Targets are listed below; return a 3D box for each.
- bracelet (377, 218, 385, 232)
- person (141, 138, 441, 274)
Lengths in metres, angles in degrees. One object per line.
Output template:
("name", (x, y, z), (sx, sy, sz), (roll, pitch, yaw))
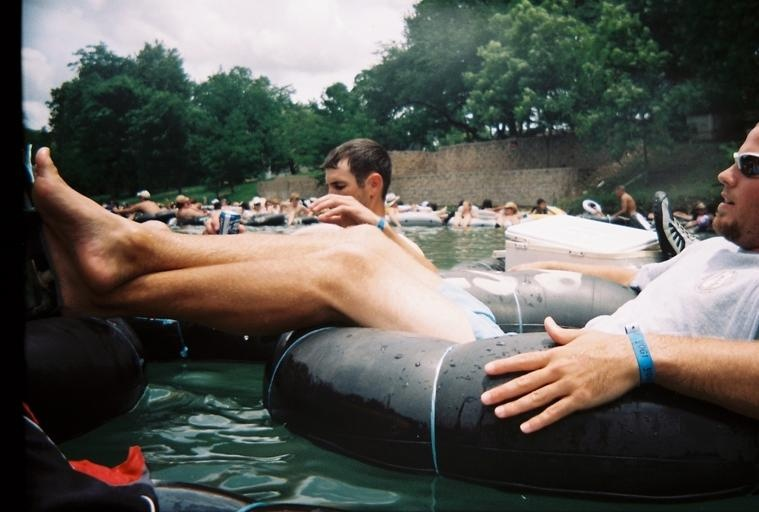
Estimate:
("bracelet", (0.013, -0.206, 3.631), (0.057, 0.063, 0.073), (4, 21, -5))
("person", (-0.316, -0.344, 3.748), (1.382, 0.575, 1.011), (6, -2, -35))
